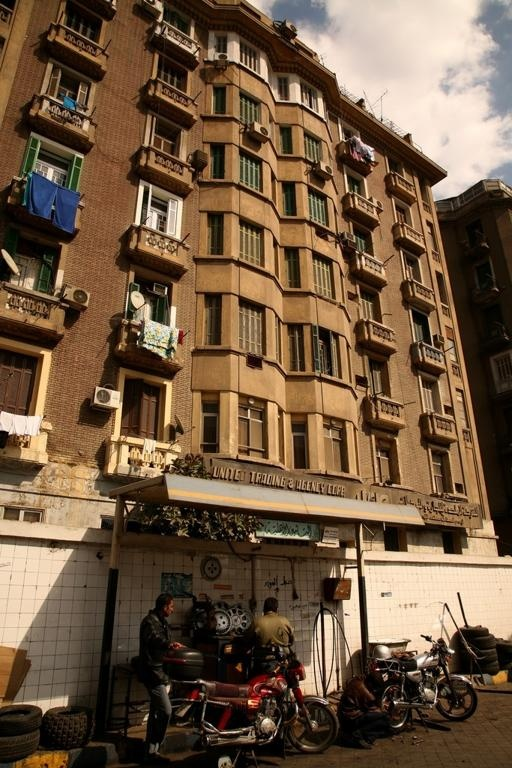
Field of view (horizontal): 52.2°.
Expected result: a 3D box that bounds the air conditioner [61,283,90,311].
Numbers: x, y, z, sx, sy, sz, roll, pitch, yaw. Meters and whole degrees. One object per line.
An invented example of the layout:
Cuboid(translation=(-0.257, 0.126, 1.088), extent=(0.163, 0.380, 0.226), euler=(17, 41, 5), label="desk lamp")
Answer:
Cuboid(translation=(-5.104, -2.403, 14.612), extent=(0.359, 0.649, 0.671), euler=(-19, -29, 26), label="air conditioner")

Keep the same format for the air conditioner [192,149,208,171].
Cuboid(translation=(-2.114, -8.312, 19.458), extent=(0.494, 0.602, 0.773), euler=(3, 17, -31), label="air conditioner")

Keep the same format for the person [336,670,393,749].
Cuboid(translation=(1.704, 4.977, 7.882), extent=(0.642, 1.059, 0.649), euler=(-9, -45, 23), label="person")

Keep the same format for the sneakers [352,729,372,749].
Cuboid(translation=(1.531, 5.109, 7.502), extent=(0.259, 0.213, 0.109), euler=(-6, -21, 19), label="sneakers")

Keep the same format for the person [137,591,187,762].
Cuboid(translation=(-1.168, 3.480, 6.207), extent=(0.474, 1.780, 0.532), euler=(8, -21, -17), label="person")

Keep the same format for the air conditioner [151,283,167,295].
Cuboid(translation=(-3.248, -3.127, 17.292), extent=(0.357, 0.356, 0.124), euler=(14, -36, -43), label="air conditioner")

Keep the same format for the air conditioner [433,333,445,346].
Cuboid(translation=(10.113, -2.340, 28.837), extent=(0.794, 0.731, 0.305), euler=(16, -25, -35), label="air conditioner")

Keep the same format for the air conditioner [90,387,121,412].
Cuboid(translation=(-4.132, 0.432, 14.447), extent=(0.857, 0.594, 0.428), euler=(14, -24, -32), label="air conditioner")

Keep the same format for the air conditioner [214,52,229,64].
Cuboid(translation=(-1.435, -13.619, 21.957), extent=(0.537, 0.564, 0.411), euler=(5, 13, 2), label="air conditioner")

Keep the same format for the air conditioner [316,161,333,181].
Cuboid(translation=(3.123, -9.754, 24.005), extent=(0.552, 0.665, 0.971), euler=(-24, -32, 31), label="air conditioner")
